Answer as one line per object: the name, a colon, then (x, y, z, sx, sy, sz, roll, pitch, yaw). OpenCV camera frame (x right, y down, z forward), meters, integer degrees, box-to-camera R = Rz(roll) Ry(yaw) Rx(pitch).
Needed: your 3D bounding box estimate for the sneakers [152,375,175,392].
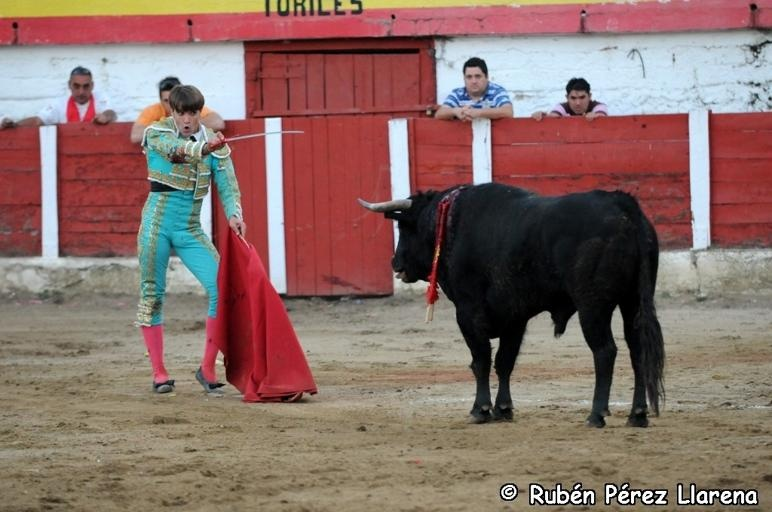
sneakers: (-1.746, 1.012, 11.547, 0.086, 0.069, 0.169, -1, 3, -29)

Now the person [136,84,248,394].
person: (-1.561, -0.148, 11.612, 0.874, 2.394, 0.722, -4, 15, -9)

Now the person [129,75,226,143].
person: (-1.843, -1.330, 13.166, 1.047, 0.719, 0.535, -2, 23, -6)

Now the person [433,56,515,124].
person: (0.829, -1.664, 14.621, 0.666, 0.521, 0.739, -1, 3, 13)

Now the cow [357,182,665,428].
cow: (1.029, 0.335, 10.979, 2.088, 1.716, 0.679, 8, 18, 31)
